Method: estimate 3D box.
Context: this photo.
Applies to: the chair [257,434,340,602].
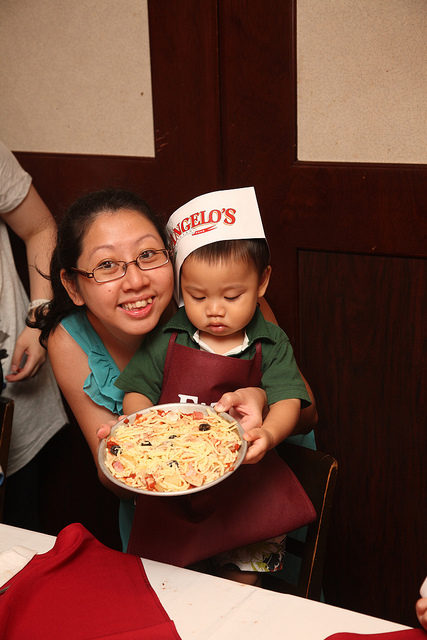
[{"bbox_3d":[0.171,0.417,1.093,0.130,0.141,0.257,15,72,2],"label":"chair"}]
